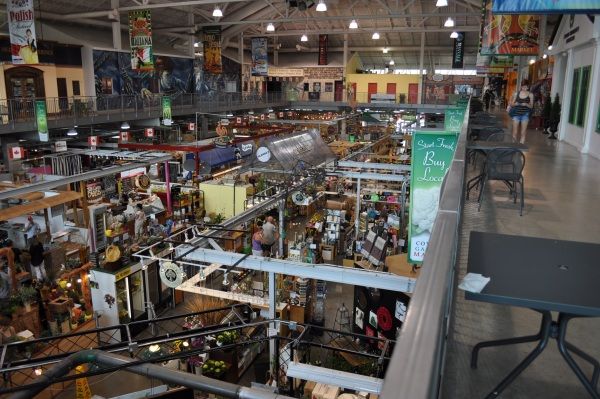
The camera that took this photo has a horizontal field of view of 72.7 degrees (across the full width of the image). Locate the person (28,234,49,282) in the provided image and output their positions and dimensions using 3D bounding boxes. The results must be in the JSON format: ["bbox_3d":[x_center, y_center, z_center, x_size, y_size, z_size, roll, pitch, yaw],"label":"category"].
[{"bbox_3d":[-5.700,1.270,8.827,0.269,0.922,0.474,-10,15,-34],"label":"person"}]

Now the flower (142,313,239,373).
[{"bbox_3d":[-1.808,2.596,7.494,2.277,0.717,1.410,-7,-5,20],"label":"flower"}]

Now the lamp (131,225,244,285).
[{"bbox_3d":[-2.327,1.119,8.130,1.521,0.371,1.448,9,25,23],"label":"lamp"}]

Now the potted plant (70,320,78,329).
[{"bbox_3d":[-4.741,2.585,8.539,0.116,0.155,0.158,7,-9,-42],"label":"potted plant"}]

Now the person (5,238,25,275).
[{"bbox_3d":[-6.082,1.202,8.667,0.263,0.781,0.576,-9,15,-30],"label":"person"}]

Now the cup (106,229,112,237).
[{"bbox_3d":[-4.985,0.842,10.673,0.156,0.131,0.169,0,-3,0],"label":"cup"}]

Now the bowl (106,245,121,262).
[{"bbox_3d":[-4.002,1.111,8.789,0.290,0.362,0.288,1,9,0],"label":"bowl"}]

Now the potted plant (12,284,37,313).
[{"bbox_3d":[-5.494,1.928,8.116,0.432,0.415,0.431,3,7,-12],"label":"potted plant"}]

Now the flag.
[{"bbox_3d":[-7.817,-2.564,17.416,7.740,1.253,5.720,-11,16,-35],"label":"flag"}]

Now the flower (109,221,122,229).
[{"bbox_3d":[-4.945,0.632,10.835,0.238,0.242,0.222,0,0,-24],"label":"flower"}]
